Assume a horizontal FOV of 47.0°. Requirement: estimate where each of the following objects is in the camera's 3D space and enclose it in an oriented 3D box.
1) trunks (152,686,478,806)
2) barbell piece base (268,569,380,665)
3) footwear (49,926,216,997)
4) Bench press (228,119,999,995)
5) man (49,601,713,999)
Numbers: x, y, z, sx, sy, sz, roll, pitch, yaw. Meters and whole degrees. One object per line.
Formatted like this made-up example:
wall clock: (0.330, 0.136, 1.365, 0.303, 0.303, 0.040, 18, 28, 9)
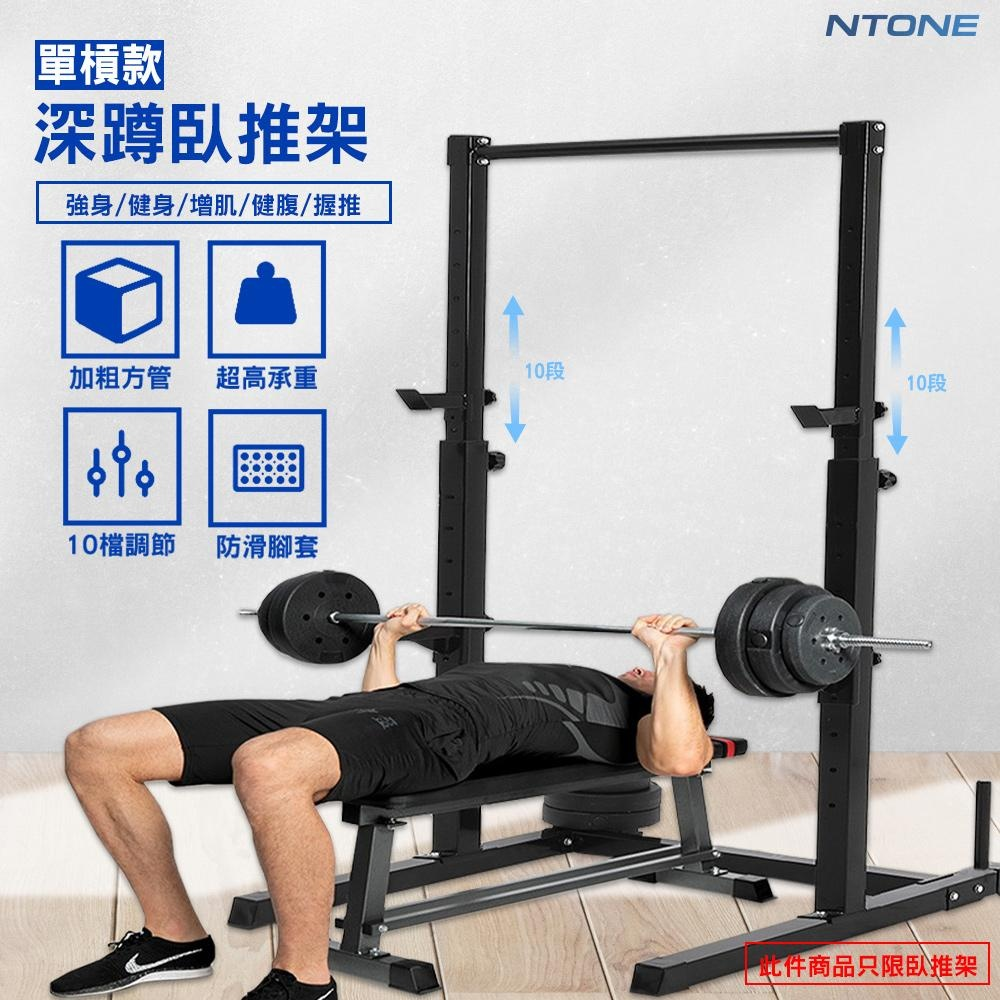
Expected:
trunks: (-0.237, 0.318, 1.565, 0.316, 0.070, 0.184, 1, 3, -25)
barbell piece base: (-0.329, 0.217, 2.132, 0.198, 0.185, 0.081, -4, 10, -19)
footwear: (-0.489, 0.618, 1.587, 0.238, 0.088, 0.079, 1, -8, -18)
Bench press: (0.124, 0.046, 2.354, 1.317, 1.369, 1.537, 1, 0, 38)
man: (-0.087, 0.367, 1.685, 0.483, 0.372, 0.971, -3, -1, 42)
